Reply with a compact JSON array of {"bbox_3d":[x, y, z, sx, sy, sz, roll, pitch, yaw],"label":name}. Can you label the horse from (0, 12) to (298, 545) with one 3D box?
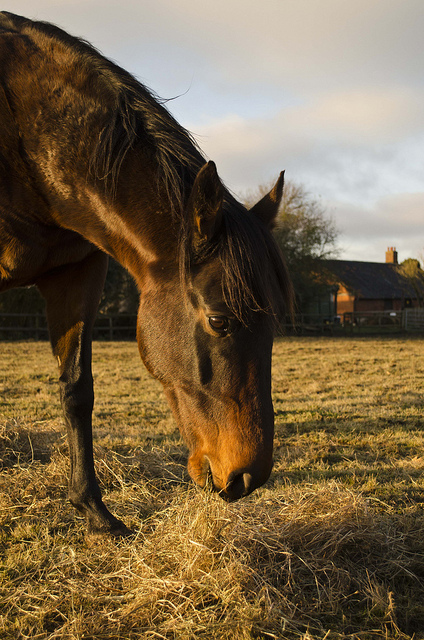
[{"bbox_3d":[-0.308,-0.142,2.897,1.494,2.182,0.544,12,18,39],"label":"horse"}]
